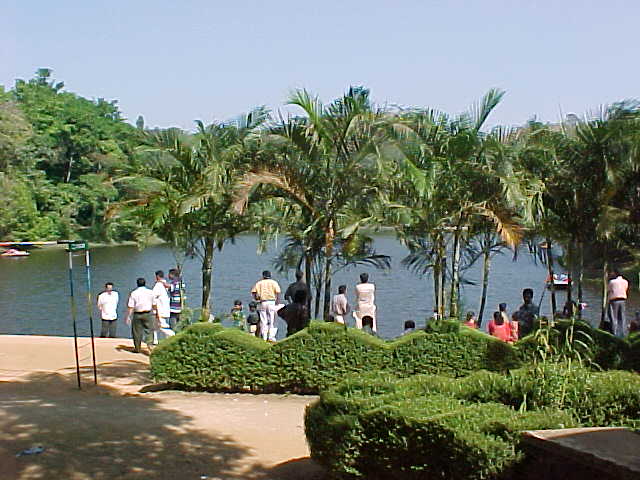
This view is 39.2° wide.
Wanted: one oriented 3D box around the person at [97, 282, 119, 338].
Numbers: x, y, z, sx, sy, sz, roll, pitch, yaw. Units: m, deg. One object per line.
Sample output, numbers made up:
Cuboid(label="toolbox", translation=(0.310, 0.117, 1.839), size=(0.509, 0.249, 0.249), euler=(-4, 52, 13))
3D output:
Cuboid(label="person", translation=(-5.706, 1.962, 24.575), size=(0.539, 1.842, 0.479), euler=(-4, 21, -21))

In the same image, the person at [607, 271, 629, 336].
Cuboid(label="person", translation=(7.483, 1.602, 22.714), size=(0.470, 1.610, 1.253), euler=(0, -5, 18))

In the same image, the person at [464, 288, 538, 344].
Cuboid(label="person", translation=(4.676, 1.818, 21.777), size=(1.161, 1.291, 1.147), euler=(4, -5, -25))

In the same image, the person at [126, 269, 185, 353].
Cuboid(label="person", translation=(-4.406, 1.865, 23.507), size=(1.187, 2.150, 0.778), euler=(3, -4, -26))
